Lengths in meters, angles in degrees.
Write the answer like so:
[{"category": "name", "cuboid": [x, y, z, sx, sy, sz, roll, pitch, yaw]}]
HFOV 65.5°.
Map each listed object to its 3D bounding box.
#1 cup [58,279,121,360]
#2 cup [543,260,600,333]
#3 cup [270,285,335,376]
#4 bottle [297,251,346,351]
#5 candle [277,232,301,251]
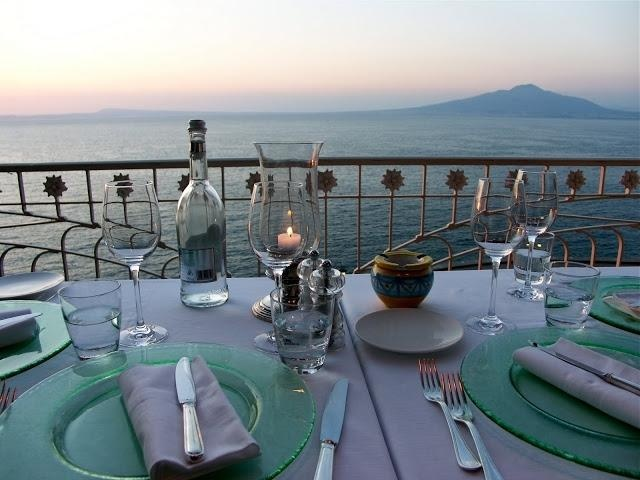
[{"category": "cup", "cuboid": [-0.464, 0.168, 1.019, 0.125, 0.126, 0.121, -2, 8, 0]}, {"category": "cup", "cuboid": [0.549, 0.096, 1.128, 0.104, 0.098, 0.091, 1, 13, -7]}, {"category": "cup", "cuboid": [-0.041, 0.180, 1.016, 0.135, 0.140, 0.135, 1, 12, 0]}, {"category": "bottle", "cuboid": [-0.001, 0.131, 1.029, 0.091, 0.208, 0.180, -4, 12, -14]}, {"category": "candle", "cuboid": [-0.066, 0.003, 1.043, 0.041, 0.022, 0.038, 5, 7, 10]}]
